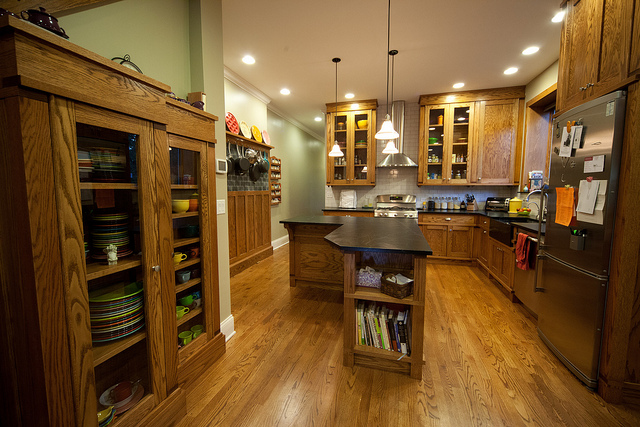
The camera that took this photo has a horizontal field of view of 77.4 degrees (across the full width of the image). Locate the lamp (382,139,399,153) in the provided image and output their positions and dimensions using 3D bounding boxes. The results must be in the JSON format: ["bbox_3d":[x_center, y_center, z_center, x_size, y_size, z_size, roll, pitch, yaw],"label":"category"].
[{"bbox_3d":[0.885,-0.811,4.961,0.203,0.227,0.203,-8,12,-24],"label":"lamp"}]

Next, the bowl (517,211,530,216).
[{"bbox_3d":[2.590,-0.006,5.119,0.132,0.060,0.075,1,7,36],"label":"bowl"}]

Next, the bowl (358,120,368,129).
[{"bbox_3d":[0.683,-1.438,6.428,0.124,0.094,0.128,-1,11,0],"label":"bowl"}]

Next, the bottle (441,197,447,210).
[{"bbox_3d":[1.943,-0.166,6.281,0.086,0.167,0.212,-1,6,17],"label":"bottle"}]

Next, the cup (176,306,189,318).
[{"bbox_3d":[-1.167,0.827,3.377,0.094,0.073,0.102,-3,6,0],"label":"cup"}]

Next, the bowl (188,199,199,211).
[{"bbox_3d":[-1.080,-0.071,3.392,0.081,0.096,0.087,-1,5,0],"label":"bowl"}]

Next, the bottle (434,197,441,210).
[{"bbox_3d":[1.852,-0.149,6.254,0.140,0.256,0.146,-1,7,0],"label":"bottle"}]

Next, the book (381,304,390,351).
[{"bbox_3d":[0.570,1.008,3.534,0.063,0.370,0.132,-2,6,7],"label":"book"}]

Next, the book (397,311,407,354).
[{"bbox_3d":[0.707,1.041,3.466,0.053,0.250,0.243,-1,-2,16],"label":"book"}]

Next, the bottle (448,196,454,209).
[{"bbox_3d":[2.046,-0.176,6.271,0.088,0.187,0.193,-1,6,16],"label":"bottle"}]

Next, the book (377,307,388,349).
[{"bbox_3d":[0.537,1.018,3.525,0.072,0.332,0.103,-3,6,-8],"label":"book"}]

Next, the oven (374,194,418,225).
[{"bbox_3d":[1.179,-0.115,6.255,0.651,0.673,0.484,0,-1,15],"label":"oven"}]

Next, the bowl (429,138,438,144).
[{"bbox_3d":[1.729,-1.119,6.118,0.088,0.060,0.091,-1,5,0],"label":"bowl"}]

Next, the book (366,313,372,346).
[{"bbox_3d":[0.431,1.027,3.515,0.035,0.261,0.029,-6,3,10],"label":"book"}]

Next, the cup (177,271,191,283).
[{"bbox_3d":[-1.157,0.532,3.376,0.080,0.066,0.083,0,-5,0],"label":"cup"}]

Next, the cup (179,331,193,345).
[{"bbox_3d":[-1.141,1.062,3.394,0.086,0.063,0.079,-3,2,0],"label":"cup"}]

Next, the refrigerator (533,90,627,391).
[{"bbox_3d":[2.227,0.227,3.504,0.329,2.435,0.634,-5,7,-21],"label":"refrigerator"}]

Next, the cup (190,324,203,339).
[{"bbox_3d":[-1.080,1.032,3.485,0.073,0.078,0.108,3,14,5],"label":"cup"}]

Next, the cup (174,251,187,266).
[{"bbox_3d":[-1.184,0.369,3.352,0.064,0.107,0.137,-2,6,9],"label":"cup"}]

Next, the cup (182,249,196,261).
[{"bbox_3d":[-1.126,0.355,3.423,0.099,0.076,0.057,-3,8,-4],"label":"cup"}]

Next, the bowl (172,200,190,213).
[{"bbox_3d":[-1.158,-0.062,3.287,0.094,0.070,0.096,-1,-1,0],"label":"bowl"}]
